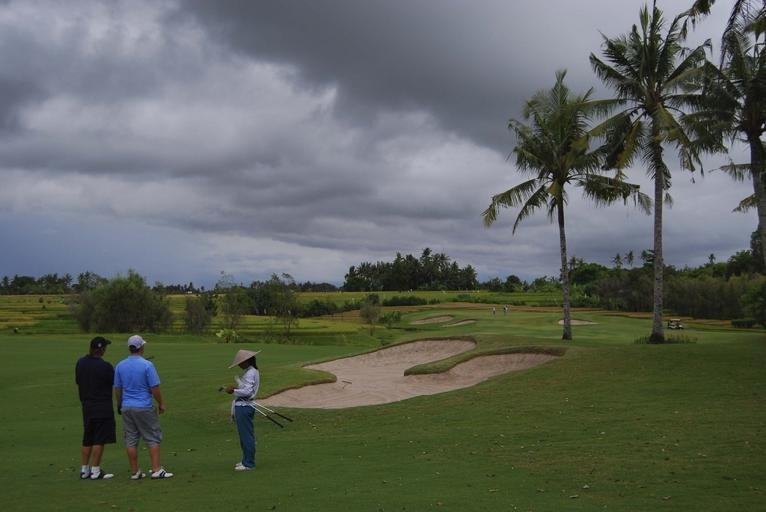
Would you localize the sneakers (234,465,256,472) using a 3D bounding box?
[{"bbox_3d":[-5.110,7.868,23.821,0.665,0.277,0.253,7,-11,-4],"label":"sneakers"}]

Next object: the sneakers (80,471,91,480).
[{"bbox_3d":[-10.737,7.945,23.289,0.244,0.298,0.219,-1,27,-12],"label":"sneakers"}]
